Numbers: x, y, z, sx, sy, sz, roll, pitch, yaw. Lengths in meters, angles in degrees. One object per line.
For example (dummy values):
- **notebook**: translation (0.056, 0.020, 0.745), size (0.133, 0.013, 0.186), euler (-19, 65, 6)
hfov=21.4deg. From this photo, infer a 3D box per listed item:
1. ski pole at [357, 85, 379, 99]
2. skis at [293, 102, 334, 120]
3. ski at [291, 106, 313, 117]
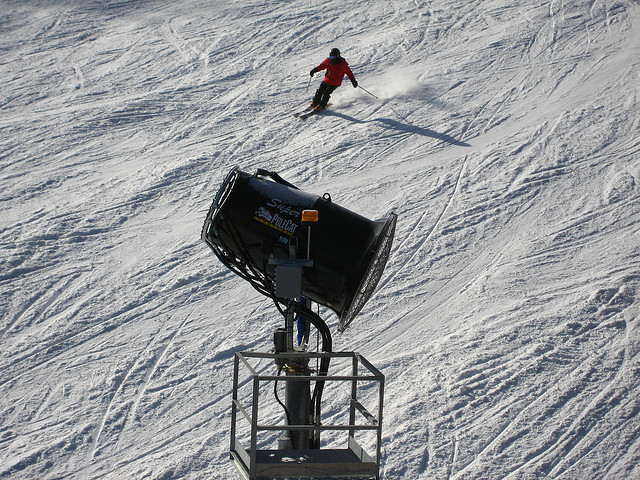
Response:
- **ski pole**: translation (1.287, -3.795, 44.466), size (0.612, 0.054, 0.065), euler (39, 81, 23)
- **skis**: translation (-0.133, -3.256, 43.752), size (1.070, 0.120, 0.289), euler (-26, 73, -20)
- **ski**: translation (-0.434, -3.215, 43.744), size (0.646, 0.094, 0.180), euler (-16, 30, -13)
